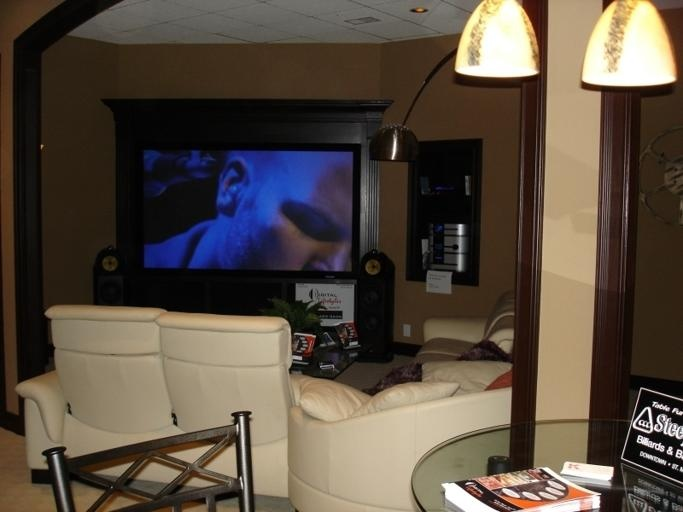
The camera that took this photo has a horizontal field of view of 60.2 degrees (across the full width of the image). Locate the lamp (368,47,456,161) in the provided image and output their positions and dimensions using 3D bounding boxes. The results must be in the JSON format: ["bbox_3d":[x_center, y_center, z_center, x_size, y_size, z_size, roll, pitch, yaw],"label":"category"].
[{"bbox_3d":[0.673,-1.359,5.176,0.575,1.122,2.135,2,7,11],"label":"lamp"}]

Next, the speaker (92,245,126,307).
[{"bbox_3d":[-2.498,0.216,6.273,0.349,0.611,0.138,2,6,14],"label":"speaker"}]

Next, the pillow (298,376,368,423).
[{"bbox_3d":[-0.042,0.745,3.015,0.201,0.066,0.209,23,12,39],"label":"pillow"}]

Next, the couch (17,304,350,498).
[{"bbox_3d":[-0.966,0.767,3.603,1.717,1.185,1.023,4,11,11],"label":"couch"}]

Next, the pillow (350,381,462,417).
[{"bbox_3d":[0.318,0.719,2.886,0.516,0.187,0.139,1,6,4],"label":"pillow"}]
